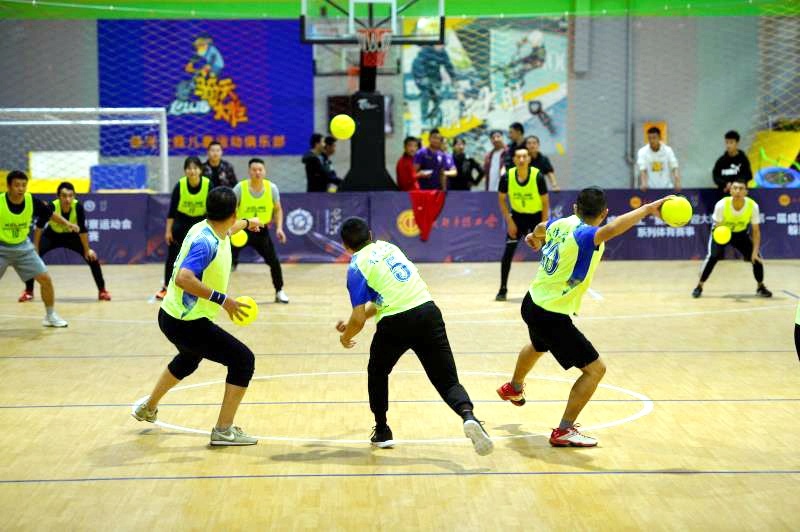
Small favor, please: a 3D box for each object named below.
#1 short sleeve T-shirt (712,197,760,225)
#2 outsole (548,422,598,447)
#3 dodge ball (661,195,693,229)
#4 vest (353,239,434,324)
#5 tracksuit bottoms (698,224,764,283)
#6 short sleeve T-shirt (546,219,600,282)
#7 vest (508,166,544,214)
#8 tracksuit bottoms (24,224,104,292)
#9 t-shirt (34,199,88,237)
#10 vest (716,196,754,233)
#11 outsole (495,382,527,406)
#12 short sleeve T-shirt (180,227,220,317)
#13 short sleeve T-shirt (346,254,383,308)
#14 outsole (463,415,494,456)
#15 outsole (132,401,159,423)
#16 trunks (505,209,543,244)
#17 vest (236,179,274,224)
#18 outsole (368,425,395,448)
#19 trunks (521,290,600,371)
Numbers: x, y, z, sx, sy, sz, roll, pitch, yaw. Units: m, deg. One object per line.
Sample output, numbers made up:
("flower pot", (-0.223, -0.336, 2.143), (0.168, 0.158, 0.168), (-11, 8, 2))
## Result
("short sleeve T-shirt", (5.602, -0.917, 11.714), (0.768, 0.535, 0.317), (0, 5, 7))
("outsole", (1.400, 1.378, 5.791), (0.406, 0.175, 0.158), (1, 0, -5))
("dodge ball", (2.215, -0.445, 5.640), (0.222, 0.254, 0.394), (6, 14, 24))
("vest", (-0.107, 0.111, 5.562), (0.615, 0.639, 0.246), (-21, -25, -18))
("tracksuit bottoms", (5.542, -0.212, 11.845), (1.248, 1.093, 0.615), (-1, 9, -6))
("short sleeve T-shirt", (1.400, -0.132, 5.690), (0.311, 0.511, 0.482), (1, 6, -30))
("vest", (2.030, -1.232, 11.299), (0.755, 0.897, 0.491), (-1, 10, 12))
("tracksuit bottoms", (-5.675, -0.158, 11.954), (1.302, 1.199, 0.760), (1, 11, -8))
("t-shirt", (-5.427, -0.820, 11.293), (0.381, 0.543, 0.682), (21, 17, 36))
("vest", (5.591, -0.886, 11.734), (0.791, 0.493, 0.371), (1, 32, 5))
("outsole", (1.049, 1.173, 6.451), (0.171, 0.123, 0.359), (-34, -37, 23))
("short sleeve T-shirt", (-1.579, 0.024, 5.532), (0.325, 0.608, 0.343), (-4, 14, -14))
("short sleeve T-shirt", (-0.293, 0.125, 5.560), (0.244, 0.413, 0.319), (-4, 14, -15))
("outsole", (0.575, 1.242, 5.228), (0.152, 0.324, 0.141), (-38, -7, 14))
("outsole", (-2.205, 1.230, 6.089), (0.140, 0.125, 0.306), (8, 7, -7))
("trunks", (1.830, -0.624, 10.385), (0.252, 0.239, 0.753), (-8, 4, -18))
("vest", (-2.312, -1.005, 11.356), (0.557, 0.668, 0.371), (5, 28, -3))
("outsole", (-0.151, 1.384, 5.789), (0.110, 0.115, 0.266), (-1, 2, -4))
("trunks", (1.296, 0.526, 5.968), (0.428, 0.556, 0.743), (-15, 15, -15))
